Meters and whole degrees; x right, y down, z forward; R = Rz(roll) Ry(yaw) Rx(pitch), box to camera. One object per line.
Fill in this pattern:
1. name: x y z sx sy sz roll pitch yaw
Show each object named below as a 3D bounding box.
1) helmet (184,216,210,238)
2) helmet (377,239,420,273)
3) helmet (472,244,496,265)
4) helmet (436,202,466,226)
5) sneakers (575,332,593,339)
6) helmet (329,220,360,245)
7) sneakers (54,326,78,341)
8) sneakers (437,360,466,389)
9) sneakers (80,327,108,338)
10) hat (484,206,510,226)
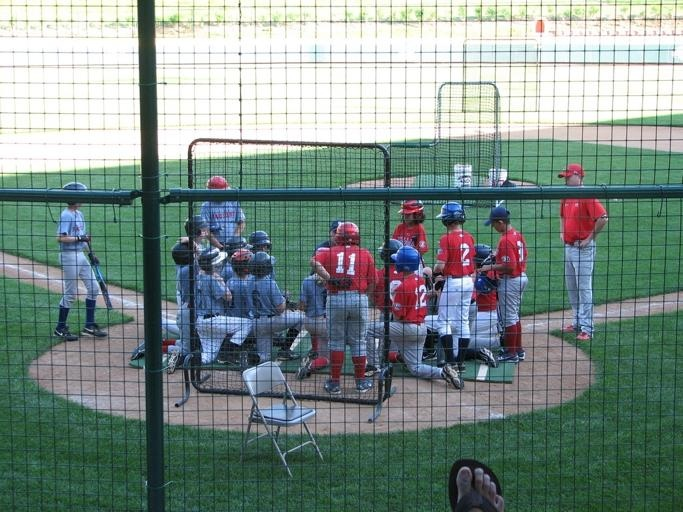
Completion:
1. helmet: -2.000 -0.428 18.172 0.327 0.364 0.382 -2 20 -11
2. helmet: 0.909 -0.019 20.374 0.415 0.325 0.647 -3 26 -37
3. helmet: 2.305 -0.094 21.491 0.320 0.248 0.473 -1 17 -9
4. helmet: 1.660 -0.678 20.015 0.357 0.263 0.482 -1 9 -6
5. sneakers: 3.971 1.278 21.693 0.229 0.169 0.429 -1 -4 23
6. helmet: 0.056 -0.393 19.694 0.357 0.317 0.430 1 8 1
7. sneakers: -4.550 1.221 21.628 0.451 0.178 0.175 7 15 12
8. sneakers: 1.634 1.736 19.914 0.253 0.545 0.229 -19 34 35
9. sneakers: -4.130 1.216 21.980 0.515 0.197 0.190 4 10 2
10. hat: 2.436 -0.682 20.442 0.460 0.227 0.305 -3 9 9
